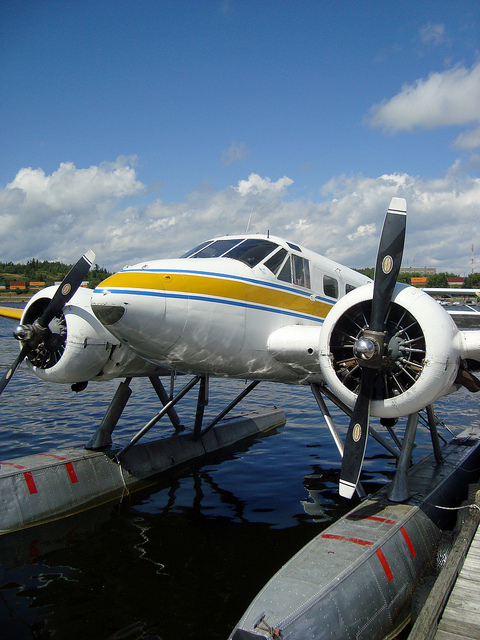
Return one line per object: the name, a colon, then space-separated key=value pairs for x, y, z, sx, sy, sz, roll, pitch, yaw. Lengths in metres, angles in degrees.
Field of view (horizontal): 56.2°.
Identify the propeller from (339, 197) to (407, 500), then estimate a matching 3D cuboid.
propeller: x=1.810 y=0.384 z=6.164 sx=0.826 sy=4.237 sz=0.922 roll=1 pitch=-1 yaw=19
